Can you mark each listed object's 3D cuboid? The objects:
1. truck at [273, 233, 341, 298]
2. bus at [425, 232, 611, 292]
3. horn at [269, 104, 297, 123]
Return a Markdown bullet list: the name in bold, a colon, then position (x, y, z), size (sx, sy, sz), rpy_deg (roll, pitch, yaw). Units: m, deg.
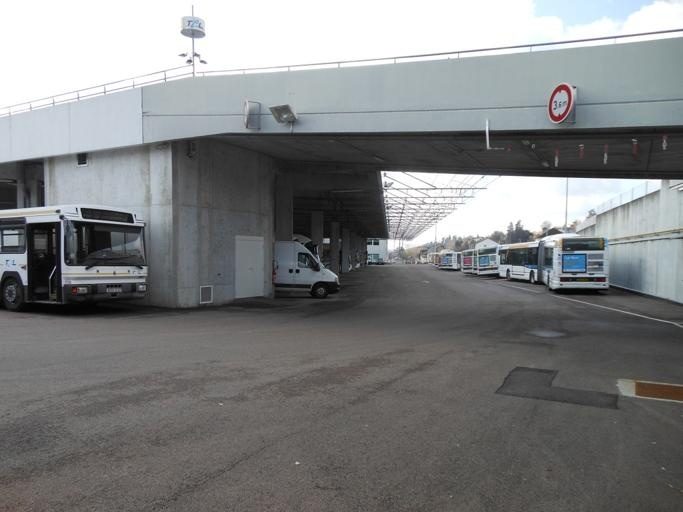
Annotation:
- **truck**: position (-1.677, 0.600, 24.895), size (2.888, 2.230, 1.953), rpy_deg (2, -2, -7)
- **bus**: position (13.334, 0.359, 34.621), size (2.708, 3.695, 12.716), rpy_deg (3, 3, 0)
- **horn**: position (-1.727, -4.197, 15.737), size (0.536, 0.308, 0.604), rpy_deg (3, -10, 5)
